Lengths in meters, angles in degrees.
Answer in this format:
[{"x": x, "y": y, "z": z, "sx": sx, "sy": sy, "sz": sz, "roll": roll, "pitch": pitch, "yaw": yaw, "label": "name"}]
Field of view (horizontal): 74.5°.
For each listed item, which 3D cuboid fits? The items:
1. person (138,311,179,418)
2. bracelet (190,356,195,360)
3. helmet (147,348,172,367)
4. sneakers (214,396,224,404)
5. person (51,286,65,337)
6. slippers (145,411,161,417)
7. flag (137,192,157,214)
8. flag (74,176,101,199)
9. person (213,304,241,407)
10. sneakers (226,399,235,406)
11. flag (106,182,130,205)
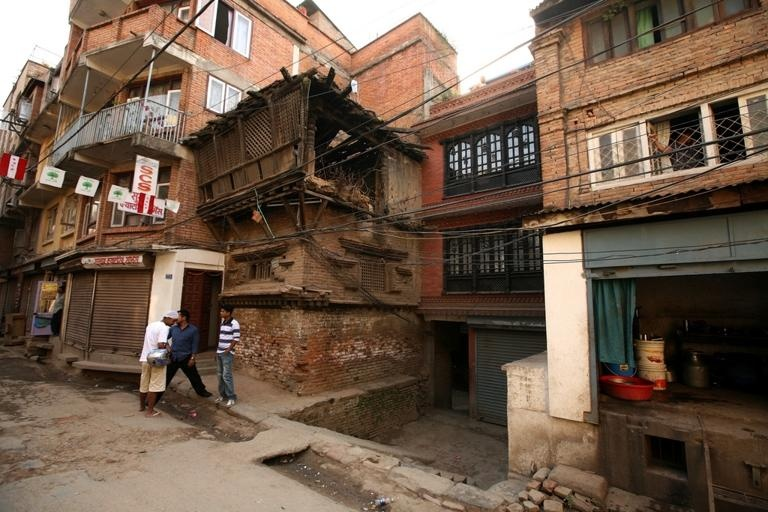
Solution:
[{"x": -6.318, "y": 2.947, "z": 14.040, "sx": 0.806, "sy": 2.845, "sz": 1.064, "roll": 4, "pitch": -11, "yaw": -23, "label": "person"}, {"x": -5.493, "y": 2.927, "z": 14.470, "sx": 0.188, "sy": 0.055, "sz": 0.221, "roll": 2, "pitch": -3, "yaw": -14, "label": "bracelet"}, {"x": -6.078, "y": 2.738, "z": 13.646, "sx": 0.621, "sy": 0.351, "sz": 0.479, "roll": -3, "pitch": 0, "yaw": -39, "label": "helmet"}, {"x": -4.825, "y": 4.192, "z": 14.728, "sx": 0.181, "sy": 0.147, "sz": 0.439, "roll": 1, "pitch": -17, "yaw": -11, "label": "sneakers"}, {"x": -13.931, "y": 2.244, "z": 21.576, "sx": 0.409, "sy": 2.285, "sz": 0.728, "roll": 6, "pitch": -12, "yaw": -30, "label": "person"}, {"x": -6.351, "y": 4.334, "z": 13.914, "sx": 0.211, "sy": 0.111, "sz": 0.336, "roll": -1, "pitch": -4, "yaw": 34, "label": "slippers"}, {"x": -8.209, "y": -1.859, "z": 17.411, "sx": 0.113, "sy": 0.754, "sz": 0.924, "roll": -13, "pitch": -13, "yaw": 34, "label": "flag"}, {"x": -10.875, "y": -2.593, "z": 18.489, "sx": 0.602, "sy": 0.703, "sz": 0.422, "roll": 3, "pitch": -10, "yaw": -20, "label": "flag"}, {"x": -4.552, "y": 2.870, "z": 14.712, "sx": 0.578, "sy": 2.899, "sz": 0.995, "roll": 2, "pitch": -10, "yaw": -15, "label": "person"}, {"x": -4.403, "y": 4.184, "z": 14.469, "sx": 0.230, "sy": 0.184, "sz": 0.219, "roll": 2, "pitch": -9, "yaw": -13, "label": "sneakers"}, {"x": -8.990, "y": -2.140, "z": 17.155, "sx": 0.605, "sy": 0.692, "sz": 0.667, "roll": 4, "pitch": -10, "yaw": -25, "label": "flag"}]
